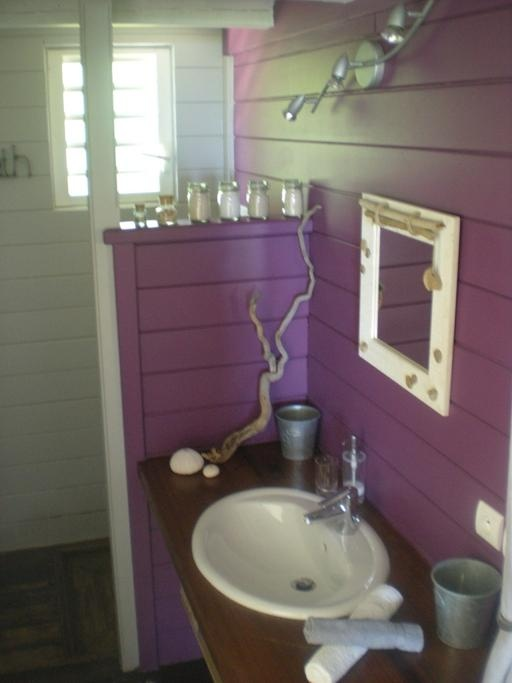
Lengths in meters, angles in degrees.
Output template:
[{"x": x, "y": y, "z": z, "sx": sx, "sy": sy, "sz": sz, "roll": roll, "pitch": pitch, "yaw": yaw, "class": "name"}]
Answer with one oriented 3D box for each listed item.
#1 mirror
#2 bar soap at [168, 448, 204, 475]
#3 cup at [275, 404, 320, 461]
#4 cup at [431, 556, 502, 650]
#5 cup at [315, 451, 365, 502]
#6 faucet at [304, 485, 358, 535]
[{"x": 0.297, "y": -0.088, "z": 1.171, "sx": 0.044, "sy": 0.388, "sz": 0.357, "roll": -7, "pitch": 21, "yaw": -14, "class": "mirror"}, {"x": -0.208, "y": 0.357, "z": 1.670, "sx": 0.108, "sy": 0.061, "sz": 0.092, "roll": -6, "pitch": 11, "yaw": -12, "class": "bar soap"}, {"x": 0.130, "y": 0.285, "z": 1.741, "sx": 0.133, "sy": 0.144, "sz": 0.143, "roll": -1, "pitch": 14, "yaw": 0, "class": "cup"}, {"x": 0.336, "y": 0.435, "z": 0.911, "sx": 0.088, "sy": 0.120, "sz": 0.102, "roll": -3, "pitch": 11, "yaw": -5, "class": "cup"}, {"x": 0.221, "y": 0.327, "z": 1.452, "sx": 0.145, "sy": 0.180, "sz": 0.083, "roll": 2, "pitch": 13, "yaw": 15, "class": "cup"}, {"x": 0.170, "y": 0.383, "z": 1.241, "sx": 0.140, "sy": 0.117, "sz": 0.055, "roll": -13, "pitch": 25, "yaw": -19, "class": "faucet"}]
